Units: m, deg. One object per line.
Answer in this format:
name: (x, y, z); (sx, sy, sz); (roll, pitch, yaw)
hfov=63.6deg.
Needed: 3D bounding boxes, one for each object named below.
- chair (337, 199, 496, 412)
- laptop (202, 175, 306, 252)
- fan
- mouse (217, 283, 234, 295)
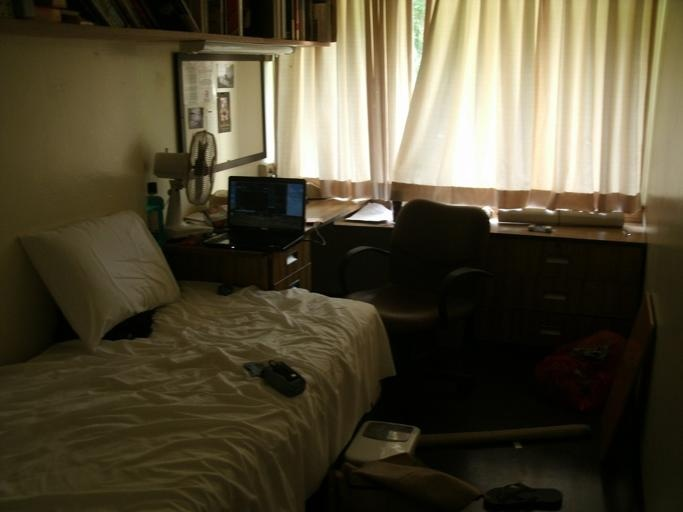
chair: (0.486, 0.209, 3.464); (0.865, 1.067, 1.013); (9, 17, 27)
laptop: (-0.491, -0.263, 3.198); (0.508, 0.347, 0.440); (4, 16, 9)
fan: (-0.912, -0.428, 3.231); (0.353, 0.604, 0.227); (-5, 16, -19)
mouse: (-0.632, 0.175, 2.973); (0.053, 0.034, 0.073); (4, 13, 4)
